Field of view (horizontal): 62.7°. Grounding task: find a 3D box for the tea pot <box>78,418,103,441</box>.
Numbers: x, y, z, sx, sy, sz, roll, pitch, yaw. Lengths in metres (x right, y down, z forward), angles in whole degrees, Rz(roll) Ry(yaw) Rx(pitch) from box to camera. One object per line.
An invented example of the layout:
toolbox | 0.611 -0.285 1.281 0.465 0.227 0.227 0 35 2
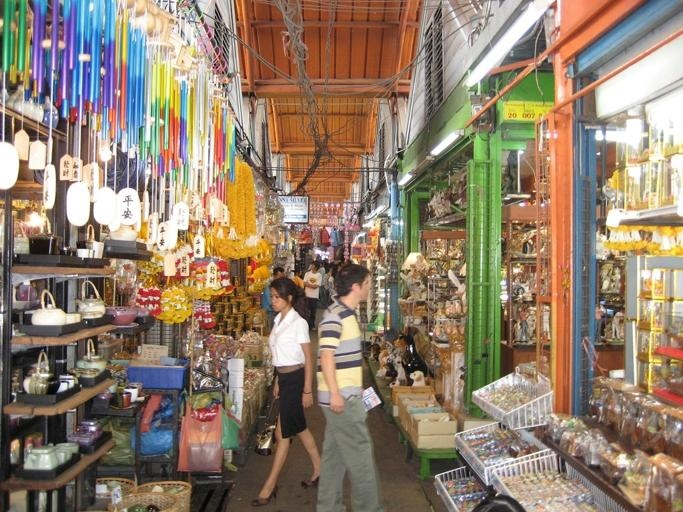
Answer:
tea pot | -1.652 1.142 3.730 0.119 0.093 0.119 3 -1 0

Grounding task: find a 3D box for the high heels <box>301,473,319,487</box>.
high heels | -0.265 1.905 4.764 0.076 0.055 0.141 -5 -11 36

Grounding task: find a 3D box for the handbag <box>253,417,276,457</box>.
handbag | -0.679 1.627 5.136 0.142 0.394 0.315 13 -5 -10

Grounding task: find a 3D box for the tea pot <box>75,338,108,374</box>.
tea pot | -1.661 0.681 3.749 0.165 0.241 0.163 -2 -1 0

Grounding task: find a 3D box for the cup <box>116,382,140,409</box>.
cup | -1.571 1.021 4.141 0.109 0.118 0.150 1 -9 -2

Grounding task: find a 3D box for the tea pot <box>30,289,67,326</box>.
tea pot | -1.706 0.312 3.288 0.189 0.248 0.201 -5 -5 0

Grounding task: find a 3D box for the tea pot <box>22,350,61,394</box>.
tea pot | -1.740 0.696 3.263 0.178 0.270 0.191 -1 -9 0

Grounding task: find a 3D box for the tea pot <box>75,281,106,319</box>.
tea pot | -1.635 0.286 3.684 0.153 0.247 0.160 -6 -3 0

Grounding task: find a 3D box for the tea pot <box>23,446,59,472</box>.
tea pot | -1.699 1.141 3.191 0.146 0.115 0.114 -3 -6 28

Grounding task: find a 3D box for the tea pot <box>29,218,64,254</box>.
tea pot | -1.728 -0.074 3.295 0.168 0.134 0.192 0 0 -32

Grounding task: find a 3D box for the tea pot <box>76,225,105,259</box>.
tea pot | -1.648 -0.082 3.672 0.163 0.176 0.155 5 7 -1
